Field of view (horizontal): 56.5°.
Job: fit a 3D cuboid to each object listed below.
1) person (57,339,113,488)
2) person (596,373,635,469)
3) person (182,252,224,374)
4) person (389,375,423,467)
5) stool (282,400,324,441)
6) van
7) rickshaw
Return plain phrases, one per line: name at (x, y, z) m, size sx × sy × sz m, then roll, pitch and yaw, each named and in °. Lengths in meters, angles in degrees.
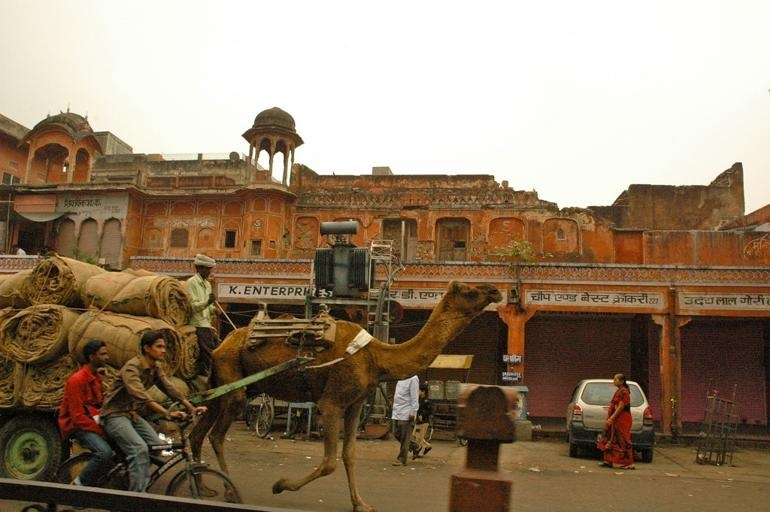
person at (-4.944, 2.570, 12.047) m, size 1.000 × 2.605 × 1.105 m, roll 3°, pitch 3°, yaw -3°
person at (5.678, 4.113, 17.792) m, size 0.968 × 2.273 × 0.841 m, roll 2°, pitch -3°, yaw -5°
person at (-3.634, 1.286, 14.485) m, size 0.742 × 2.453 × 0.944 m, roll -3°, pitch 14°, yaw -1°
person at (0.479, 3.834, 17.333) m, size 1.072 × 2.353 × 1.101 m, roll -1°, pitch 2°, yaw 2°
stool at (-2.516, 4.876, 21.240) m, size 0.933 × 0.970 × 0.832 m, roll -3°, pitch -1°, yaw 7°
van at (6.912, 4.566, 21.267) m, size 2.446 × 1.936 × 4.939 m, roll 0°, pitch -3°, yaw 19°
rickshaw at (1.993, 4.695, 23.521) m, size 2.139 × 3.871 × 1.824 m, roll 0°, pitch -17°, yaw 7°
